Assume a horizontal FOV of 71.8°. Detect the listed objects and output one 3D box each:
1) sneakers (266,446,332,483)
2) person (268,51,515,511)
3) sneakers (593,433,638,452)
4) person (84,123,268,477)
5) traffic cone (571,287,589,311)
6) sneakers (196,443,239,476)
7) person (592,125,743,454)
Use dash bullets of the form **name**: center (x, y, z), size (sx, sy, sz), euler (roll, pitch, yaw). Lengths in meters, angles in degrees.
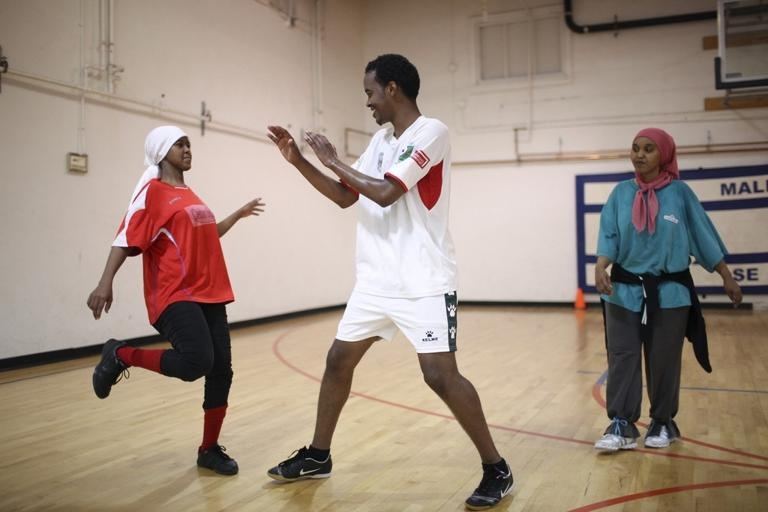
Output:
- **sneakers**: center (-0.494, 1.284, 3.283), size (0.475, 0.234, 0.168), euler (3, -10, -7)
- **person**: center (0.093, 0.130, 3.085), size (1.278, 2.591, 0.380), euler (0, 4, 12)
- **sneakers**: center (1.581, 1.254, 3.600), size (0.296, 0.143, 0.121), euler (4, -15, -10)
- **person**: center (-1.361, 0.291, 3.353), size (0.801, 2.227, 0.444), euler (-1, 4, -5)
- **traffic cone**: center (3.765, 0.841, 10.129), size (0.348, 0.508, 0.364), euler (-3, 0, 39)
- **sneakers**: center (-1.080, 1.319, 3.509), size (0.317, 0.157, 0.130), euler (2, 3, 30)
- **person**: center (1.843, 0.223, 3.652), size (0.863, 2.177, 0.304), euler (-1, 4, -5)
